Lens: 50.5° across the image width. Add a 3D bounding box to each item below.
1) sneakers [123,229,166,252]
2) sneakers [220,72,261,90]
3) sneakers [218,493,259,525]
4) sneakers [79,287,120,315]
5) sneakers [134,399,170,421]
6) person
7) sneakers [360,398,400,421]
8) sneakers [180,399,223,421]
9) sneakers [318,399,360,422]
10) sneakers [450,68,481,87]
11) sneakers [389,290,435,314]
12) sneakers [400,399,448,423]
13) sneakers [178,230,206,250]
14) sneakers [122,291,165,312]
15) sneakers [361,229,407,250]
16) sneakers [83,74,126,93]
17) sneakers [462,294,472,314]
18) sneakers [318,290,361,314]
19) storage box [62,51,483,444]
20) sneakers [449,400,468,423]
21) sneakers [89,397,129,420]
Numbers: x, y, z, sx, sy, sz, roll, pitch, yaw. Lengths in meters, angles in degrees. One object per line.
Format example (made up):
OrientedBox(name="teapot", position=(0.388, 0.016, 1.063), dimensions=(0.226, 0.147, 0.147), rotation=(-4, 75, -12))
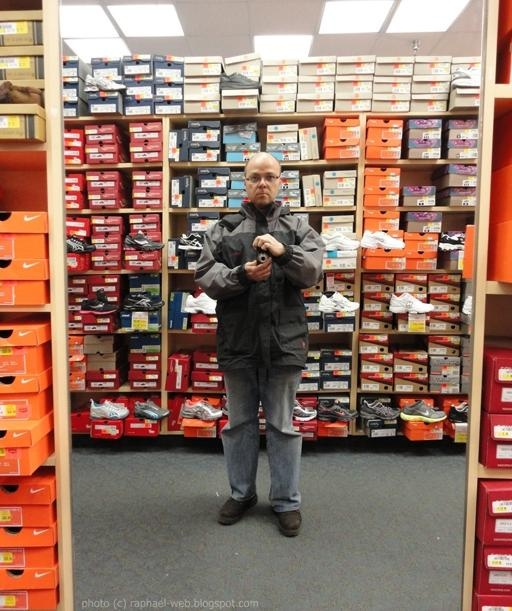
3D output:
OrientedBox(name="sneakers", position=(-0.675, -0.393, 3.343), dimensions=(0.279, 0.123, 0.114), rotation=(2, 13, -1))
OrientedBox(name="sneakers", position=(-0.109, -1.318, 3.219), dimensions=(0.277, 0.101, 0.084), rotation=(0, 16, -3))
OrientedBox(name="sneakers", position=(-0.080, 0.949, 2.543), dimensions=(0.075, 0.073, 0.194), rotation=(-2, -1, 37))
OrientedBox(name="sneakers", position=(-1.024, -0.022, 3.456), dimensions=(0.349, 0.142, 0.114), rotation=(-2, -3, 36))
OrientedBox(name="sneakers", position=(-0.632, 0.637, 3.344), dimensions=(0.206, 0.079, 0.103), rotation=(5, 5, 4))
OrientedBox(name="person", position=(0.012, 0.178, 2.424), dimensions=(0.525, 1.657, 0.458), rotation=(6, 13, 25))
OrientedBox(name="sneakers", position=(0.748, 0.641, 3.345), dimensions=(0.255, 0.098, 0.099), rotation=(1, -1, 5))
OrientedBox(name="sneakers", position=(-0.326, 0.618, 3.258), dimensions=(0.259, 0.104, 0.102), rotation=(4, 0, 3))
OrientedBox(name="sneakers", position=(0.516, 0.644, 3.328), dimensions=(0.276, 0.122, 0.100), rotation=(1, 0, 0))
OrientedBox(name="sneakers", position=(1.208, -1.299, 3.136), dimensions=(0.152, 0.106, 0.078), rotation=(2, 11, 9))
OrientedBox(name="sneakers", position=(0.975, -0.009, 3.351), dimensions=(0.298, 0.120, 0.108), rotation=(1, 6, 2))
OrientedBox(name="sneakers", position=(0.990, 0.633, 3.263), dimensions=(0.295, 0.114, 0.116), rotation=(1, -2, 3))
OrientedBox(name="sneakers", position=(-0.395, -0.391, 3.316), dimensions=(0.219, 0.087, 0.080), rotation=(-1, 0, 28))
OrientedBox(name="sneakers", position=(-0.648, -0.014, 3.353), dimensions=(0.324, 0.141, 0.101), rotation=(1, 3, 1))
OrientedBox(name="sneakers", position=(0.724, -0.384, 3.202), dimensions=(0.307, 0.116, 0.108), rotation=(2, 8, -1))
OrientedBox(name="sneakers", position=(-0.914, -1.315, 3.256), dimensions=(0.276, 0.102, 0.089), rotation=(0, 28, -3))
OrientedBox(name="sneakers", position=(1.203, -0.007, 3.102), dimensions=(0.047, 0.115, 0.079), rotation=(5, -2, -1))
OrientedBox(name="sneakers", position=(0.488, -0.007, 3.282), dimensions=(0.272, 0.113, 0.106), rotation=(1, 4, -1))
OrientedBox(name="storage box", position=(0.114, -0.347, 3.109), dimensions=(2.809, 2.287, 0.760), rotation=(0, 7, -3))
OrientedBox(name="sneakers", position=(1.226, 0.640, 3.310), dimensions=(0.104, 0.086, 0.193), rotation=(5, 12, 25))
OrientedBox(name="sneakers", position=(-0.903, 0.629, 3.332), dimensions=(0.259, 0.098, 0.108), rotation=(3, -1, -1))
